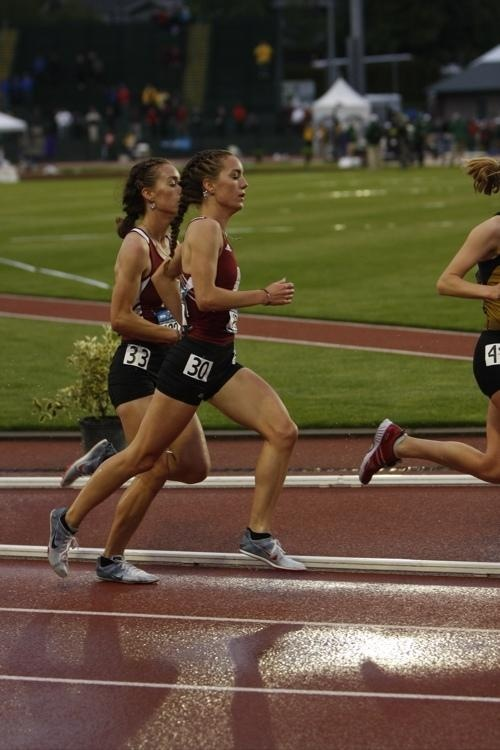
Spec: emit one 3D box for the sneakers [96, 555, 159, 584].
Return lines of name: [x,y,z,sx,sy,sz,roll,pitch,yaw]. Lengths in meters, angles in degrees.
sneakers: [-0.546,0.853,3.690,0.332,0.112,0.105,2,-1,6]

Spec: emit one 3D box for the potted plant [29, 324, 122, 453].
potted plant: [-1.062,0.179,5.848,0.884,0.891,0.574,0,1,-19]

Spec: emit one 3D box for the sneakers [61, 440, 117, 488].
sneakers: [-0.890,0.463,4.311,0.092,0.364,0.215,55,16,6]

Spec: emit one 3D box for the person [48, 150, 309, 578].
person: [-0.298,-0.001,3.470,0.982,1.842,0.563,-3,7,2]

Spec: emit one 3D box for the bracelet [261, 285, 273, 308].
bracelet: [0.065,-0.311,3.222,0.036,0.056,0.056,-7,-13,-2]

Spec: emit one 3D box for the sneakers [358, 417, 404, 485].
sneakers: [0.624,0.386,4.122,0.171,0.352,0.135,32,29,6]
